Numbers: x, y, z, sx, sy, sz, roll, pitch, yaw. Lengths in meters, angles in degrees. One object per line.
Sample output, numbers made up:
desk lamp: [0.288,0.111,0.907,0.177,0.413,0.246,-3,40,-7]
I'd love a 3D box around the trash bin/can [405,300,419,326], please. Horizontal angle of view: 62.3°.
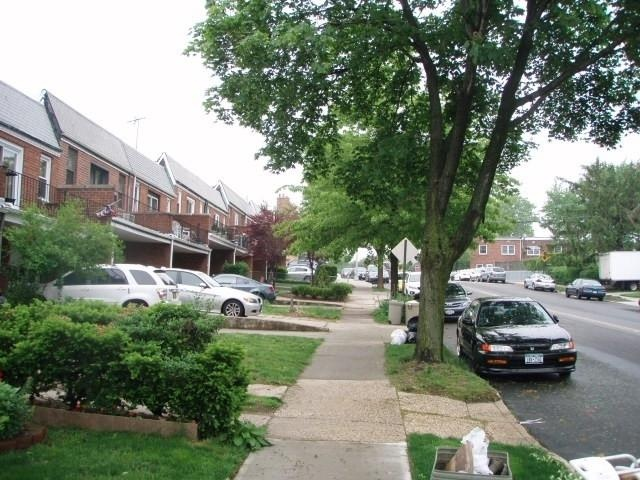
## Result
trash bin/can: [3.188,2.522,18.774,0.683,1.018,0.720,1,-3,-3]

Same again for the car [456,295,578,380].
car: [4.582,2.250,12.568,2.165,1.885,2.400,-1,-6,9]

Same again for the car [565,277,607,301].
car: [19.260,3.560,39.036,1.338,1.097,3.180,0,0,3]

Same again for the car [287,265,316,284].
car: [-2.050,3.293,53.048,2.376,1.142,1.450,5,-3,7]

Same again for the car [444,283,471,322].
car: [5.711,2.580,22.733,1.488,1.292,2.765,-1,-10,3]

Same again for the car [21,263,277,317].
car: [-5.040,1.681,17.352,3.475,1.732,7.270,-4,-8,27]
